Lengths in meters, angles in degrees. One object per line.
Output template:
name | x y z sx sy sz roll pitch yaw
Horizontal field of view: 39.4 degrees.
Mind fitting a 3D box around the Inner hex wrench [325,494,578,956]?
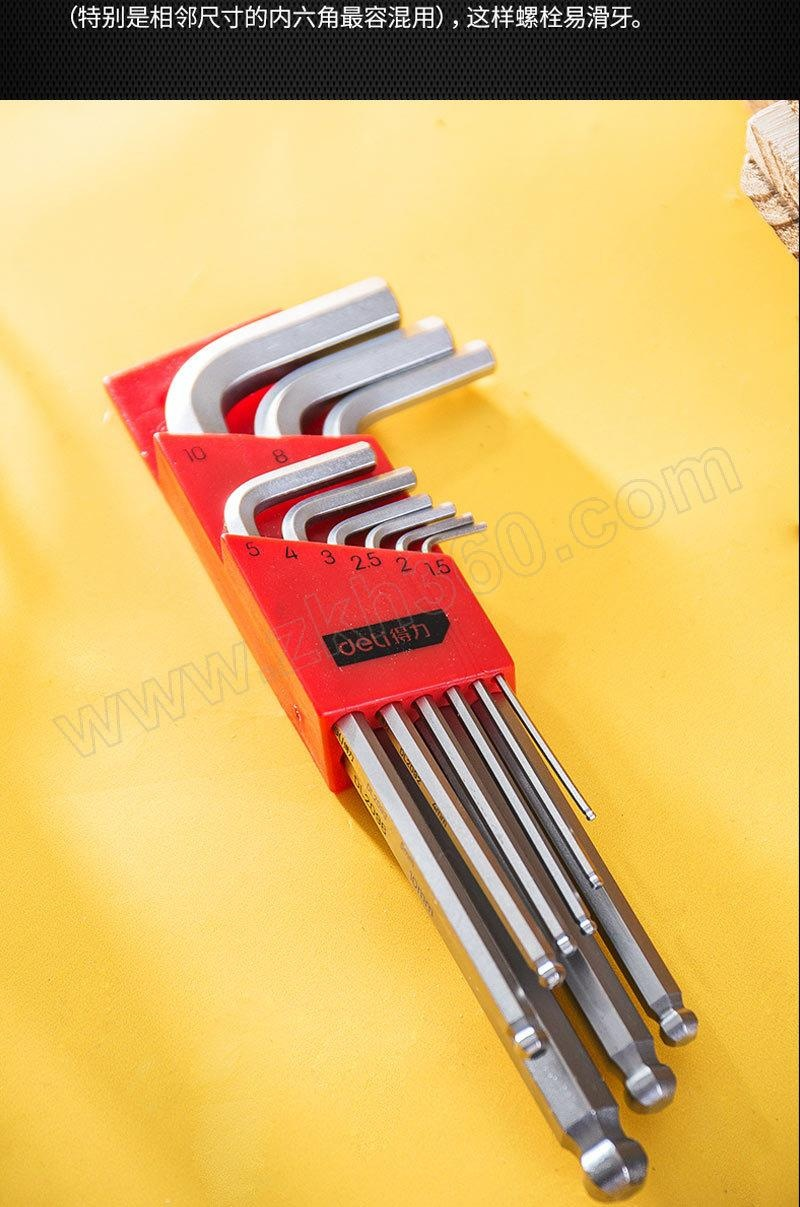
Inner hex wrench | 0.040 0.141 1.074 0.120 0.384 0.040 -16 -29 -10

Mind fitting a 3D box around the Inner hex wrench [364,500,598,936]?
Inner hex wrench | 0.075 0.142 1.098 0.119 0.355 0.025 -13 -41 -18
